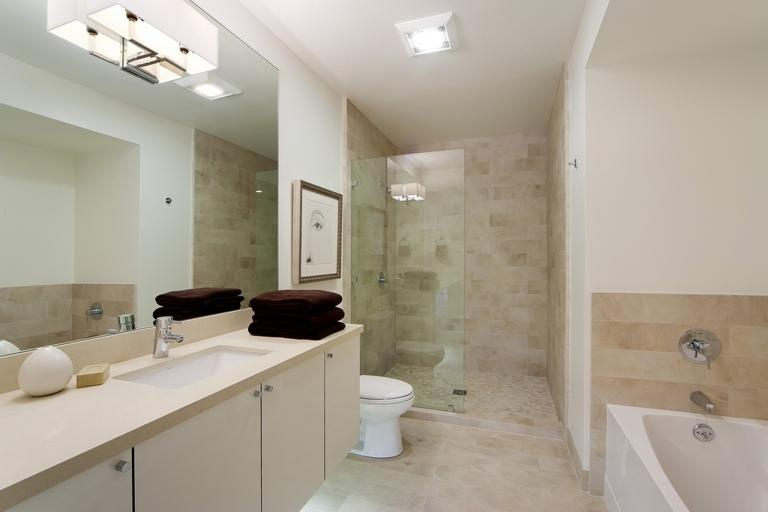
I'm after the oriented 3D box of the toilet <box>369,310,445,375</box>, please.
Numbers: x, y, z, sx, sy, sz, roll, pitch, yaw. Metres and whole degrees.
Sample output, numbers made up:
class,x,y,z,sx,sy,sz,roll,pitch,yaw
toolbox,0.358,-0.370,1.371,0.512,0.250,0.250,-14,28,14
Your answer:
class,x,y,z,sx,sy,sz,roll,pitch,yaw
toilet,0.291,0.774,4.625,0.775,0.495,0.389,0,2,17

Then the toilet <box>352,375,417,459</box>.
class,x,y,z,sx,sy,sz,roll,pitch,yaw
toilet,-0.009,1.240,3.892,0.493,0.489,0.560,1,-1,12

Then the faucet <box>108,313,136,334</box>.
class,x,y,z,sx,sy,sz,roll,pitch,yaw
faucet,-1.363,0.351,2.660,0.123,0.074,0.061,2,1,33

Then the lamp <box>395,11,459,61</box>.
class,x,y,z,sx,sy,sz,roll,pitch,yaw
lamp,0.304,-1.517,3.504,0.391,0.176,0.306,-4,-2,17
